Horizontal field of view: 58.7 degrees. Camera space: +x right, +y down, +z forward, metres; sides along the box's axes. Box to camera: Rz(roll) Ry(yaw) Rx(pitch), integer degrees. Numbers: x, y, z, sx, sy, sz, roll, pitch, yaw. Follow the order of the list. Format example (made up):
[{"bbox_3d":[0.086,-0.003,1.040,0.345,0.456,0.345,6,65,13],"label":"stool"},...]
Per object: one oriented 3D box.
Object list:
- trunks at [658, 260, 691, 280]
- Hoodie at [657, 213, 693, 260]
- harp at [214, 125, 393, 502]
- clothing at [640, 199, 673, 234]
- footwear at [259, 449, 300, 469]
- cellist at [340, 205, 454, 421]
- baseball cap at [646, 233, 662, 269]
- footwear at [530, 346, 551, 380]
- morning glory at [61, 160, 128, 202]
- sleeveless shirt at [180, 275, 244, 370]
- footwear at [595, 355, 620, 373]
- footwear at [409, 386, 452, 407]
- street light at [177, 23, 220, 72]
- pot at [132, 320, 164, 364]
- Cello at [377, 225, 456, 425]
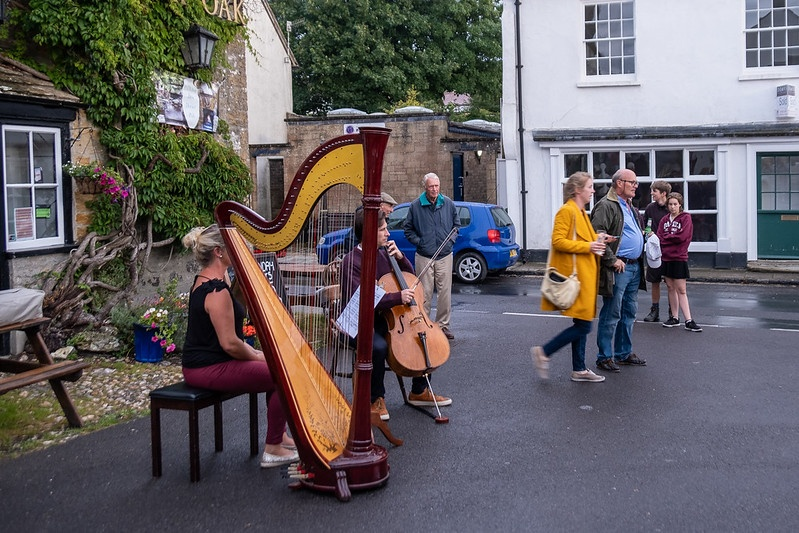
[{"bbox_3d":[4.304,0.058,11.066,0.410,0.443,0.246,2,1,43],"label":"trunks"},{"bbox_3d":[4.273,-0.475,11.025,0.489,0.970,0.557,9,-9,-42],"label":"Hoodie"},{"bbox_3d":[-0.847,0.435,6.494,1.520,3.212,1.226,0,2,9],"label":"harp"},{"bbox_3d":[4.158,-0.824,11.592,0.433,0.686,0.224,0,3,-5],"label":"clothing"},{"bbox_3d":[-1.152,1.843,6.954,0.430,0.188,0.172,-2,1,-12],"label":"footwear"},{"bbox_3d":[-0.117,0.440,7.604,0.920,2.645,0.820,-9,-5,-41],"label":"cellist"},{"bbox_3d":[3.891,-0.275,10.758,0.281,0.534,0.260,-7,-36,11],"label":"baseball cap"},{"bbox_3d":[1.775,1.192,8.846,0.163,0.493,0.162,-5,-6,0],"label":"footwear"},{"bbox_3d":[-4.286,-1.235,10.181,0.484,0.267,0.570,18,1,-18],"label":"morning glory"},{"bbox_3d":[-1.751,0.512,6.803,0.438,0.976,0.673,0,-2,-24],"label":"sleeveless shirt"},{"bbox_3d":[2.691,1.253,9.086,0.140,0.174,0.336,-3,3,-35],"label":"footwear"},{"bbox_3d":[0.357,1.478,8.136,0.507,0.240,0.207,1,-3,-1],"label":"footwear"},{"bbox_3d":[-3.280,-3.563,11.727,0.542,0.852,0.622,0,5,13],"label":"street light"},{"bbox_3d":[-3.349,1.007,9.408,0.416,0.500,0.446,2,0,0],"label":"pot"},{"bbox_3d":[0.238,0.632,7.732,0.729,2.012,0.718,-1,2,2],"label":"Cello"}]
